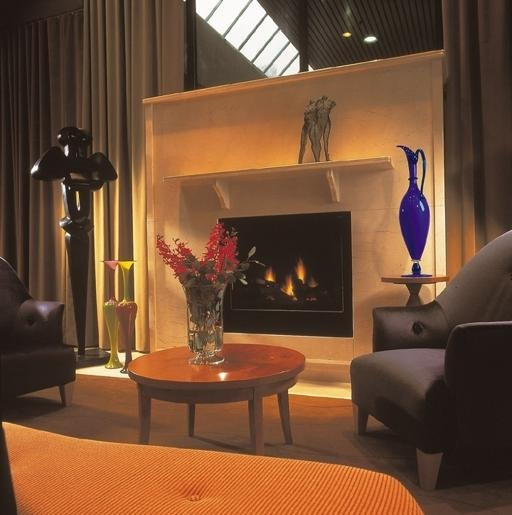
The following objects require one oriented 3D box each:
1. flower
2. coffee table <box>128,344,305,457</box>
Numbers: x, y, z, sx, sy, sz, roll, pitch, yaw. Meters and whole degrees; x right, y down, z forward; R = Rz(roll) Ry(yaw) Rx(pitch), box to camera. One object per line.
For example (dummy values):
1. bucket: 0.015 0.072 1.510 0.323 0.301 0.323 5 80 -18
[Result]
1. flower: -0.252 0.130 2.028 0.302 0.523 0.345 -13 -14 35
2. coffee table: -0.168 0.586 2.060 0.623 0.402 0.674 1 4 20
